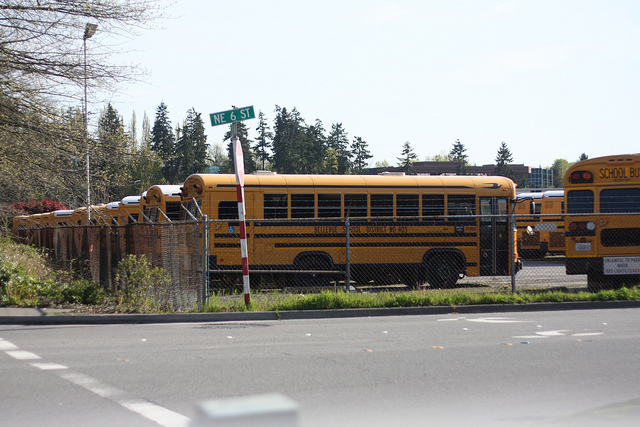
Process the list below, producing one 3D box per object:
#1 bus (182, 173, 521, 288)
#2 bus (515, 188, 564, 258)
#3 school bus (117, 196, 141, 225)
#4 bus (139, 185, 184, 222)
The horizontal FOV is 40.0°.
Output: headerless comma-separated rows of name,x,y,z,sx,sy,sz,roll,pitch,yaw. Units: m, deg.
bus,1.455,0.910,29.846,10.937,4.029,3.153,0,-17,-15
bus,10.268,0.458,40.927,2.128,3.200,3.570,-2,-3,14
school bus,-7.429,-0.089,34.383,1.102,1.035,0.823,-1,3,-10
bus,-5.817,-0.362,32.256,2.140,1.374,1.624,3,-4,-25
